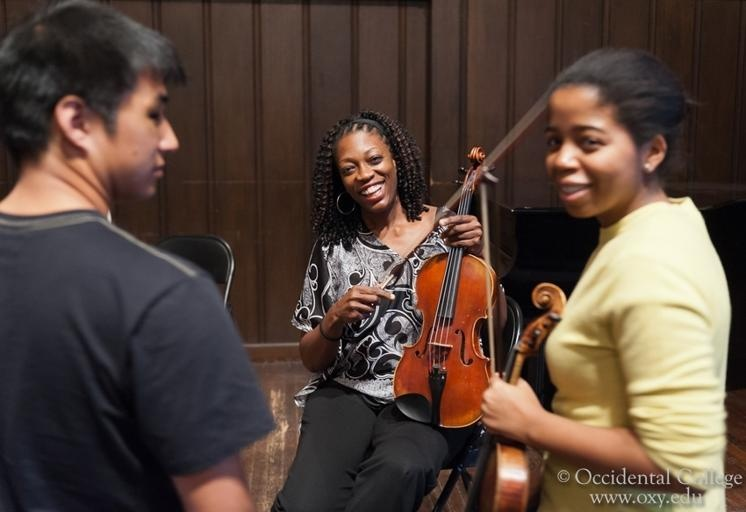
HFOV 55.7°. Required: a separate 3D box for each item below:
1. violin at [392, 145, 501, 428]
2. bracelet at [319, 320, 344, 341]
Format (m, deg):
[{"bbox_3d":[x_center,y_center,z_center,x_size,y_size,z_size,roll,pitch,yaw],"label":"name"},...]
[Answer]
[{"bbox_3d":[0.267,0.098,2.318,0.333,0.910,0.184,4,-7,28],"label":"violin"},{"bbox_3d":[-0.146,0.260,2.408,0.075,0.062,0.049,0,0,-5],"label":"bracelet"}]
